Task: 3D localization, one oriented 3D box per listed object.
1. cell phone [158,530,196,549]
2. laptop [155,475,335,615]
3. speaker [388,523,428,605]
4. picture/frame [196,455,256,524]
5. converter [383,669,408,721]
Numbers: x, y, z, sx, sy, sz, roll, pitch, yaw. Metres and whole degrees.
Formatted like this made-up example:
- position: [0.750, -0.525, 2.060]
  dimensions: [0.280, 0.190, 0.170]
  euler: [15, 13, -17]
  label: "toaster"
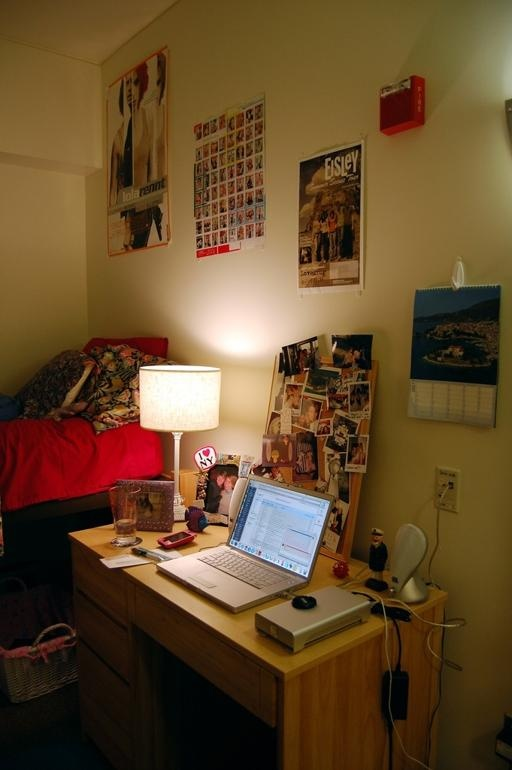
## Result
- position: [-0.244, 0.470, 1.713]
  dimensions: [0.080, 0.029, 0.045]
  euler: [-2, 4, -40]
  label: "cell phone"
- position: [-0.021, 0.343, 1.395]
  dimensions: [0.276, 0.200, 0.303]
  euler: [-1, 4, -38]
  label: "laptop"
- position: [0.351, 0.414, 1.285]
  dimensions: [0.088, 0.174, 0.078]
  euler: [5, 6, 22]
  label: "speaker"
- position: [-0.099, 0.345, 1.822]
  dimensions: [0.101, 0.198, 0.165]
  euler: [19, -21, -38]
  label: "picture/frame"
- position: [0.298, 0.676, 1.225]
  dimensions: [0.059, 0.091, 0.061]
  euler: [8, -4, 12]
  label: "converter"
